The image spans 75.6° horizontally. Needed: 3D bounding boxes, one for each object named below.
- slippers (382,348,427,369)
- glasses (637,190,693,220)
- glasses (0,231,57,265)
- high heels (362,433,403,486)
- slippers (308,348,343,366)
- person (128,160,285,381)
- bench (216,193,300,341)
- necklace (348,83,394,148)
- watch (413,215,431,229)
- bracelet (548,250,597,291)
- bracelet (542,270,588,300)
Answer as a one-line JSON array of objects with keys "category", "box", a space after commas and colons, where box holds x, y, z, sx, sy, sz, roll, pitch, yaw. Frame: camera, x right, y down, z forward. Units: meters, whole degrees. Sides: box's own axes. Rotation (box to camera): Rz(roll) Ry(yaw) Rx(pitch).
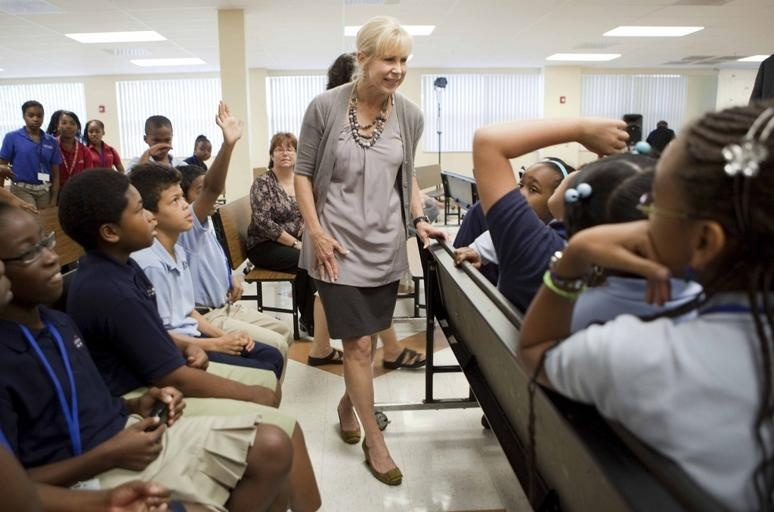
[{"category": "slippers", "box": [0.101, 0.625, 3.030, 0.205, 0.090, 0.112, -3, 6, 0]}, {"category": "glasses", "box": [0.440, -0.087, 0.782, 0.047, 0.016, 0.046, 18, 8, 7]}, {"category": "glasses", "box": [-0.946, -0.023, 1.337, 0.075, 0.024, 0.077, -4, 25, 7]}, {"category": "high heels", "box": [-0.013, 0.871, 2.187, 0.084, 0.115, 0.252, -3, 14, -31]}, {"category": "slippers", "box": [-0.367, 0.649, 3.180, 0.260, 0.105, 0.099, -4, 6, -15]}, {"category": "person", "box": [-0.849, 0.057, 2.426, 0.517, 1.044, 1.286, 0, 8, -5]}, {"category": "bench", "box": [-0.852, 0.037, 3.362, 0.361, 0.698, 0.991, 1, 10, 1]}, {"category": "necklace", "box": [-0.073, -0.586, 2.064, 0.148, 0.269, 0.063, -2, 4, -4]}, {"category": "watch", "box": [0.167, -0.166, 2.352, 0.079, 0.051, 0.083, -4, -29, -3]}, {"category": "bracelet", "box": [0.341, 0.049, 0.942, 0.078, 0.034, 0.086, -25, -32, 6]}, {"category": "bracelet", "box": [0.323, 0.056, 0.903, 0.054, 0.023, 0.056, 15, 14, -43]}]
